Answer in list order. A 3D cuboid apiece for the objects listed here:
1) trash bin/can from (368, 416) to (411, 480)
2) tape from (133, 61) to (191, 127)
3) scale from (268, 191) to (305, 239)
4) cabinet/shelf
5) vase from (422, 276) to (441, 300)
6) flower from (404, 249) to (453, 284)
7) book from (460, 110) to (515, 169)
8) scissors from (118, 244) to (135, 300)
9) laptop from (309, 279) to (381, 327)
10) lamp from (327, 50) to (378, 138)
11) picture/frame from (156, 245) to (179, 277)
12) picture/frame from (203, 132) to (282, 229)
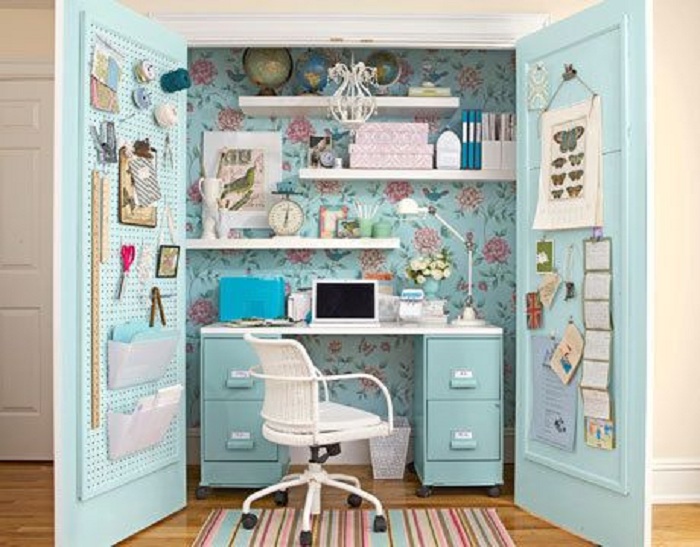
[{"bbox_3d":[0.248,1.096,3.966,0.251,0.333,0.254,0,-2,-2],"label":"trash bin/can"},{"bbox_3d":[-1.005,-0.950,3.340,0.146,0.321,0.275,7,5,34],"label":"tape"},{"bbox_3d":[-0.400,-0.347,4.070,0.273,0.381,0.248,1,-7,-4],"label":"scale"},{"bbox_3d":[-0.004,-0.628,4.014,2.032,0.976,0.339,-1,7,-4],"label":"cabinet/shelf"},{"bbox_3d":[0.509,0.093,4.010,0.120,0.137,0.116,0,-2,-11],"label":"vase"},{"bbox_3d":[0.507,-0.058,3.958,0.224,0.166,0.239,3,37,19],"label":"flower"},{"bbox_3d":[0.841,-0.802,4.118,0.408,0.441,0.314,0,0,-1],"label":"book"},{"bbox_3d":[-1.157,-0.009,3.251,0.042,0.281,0.138,3,7,25],"label":"scissors"},{"bbox_3d":[-0.033,0.173,3.836,0.395,0.258,0.098,0,7,0],"label":"laptop"},{"bbox_3d":[0.028,-1.117,3.863,0.312,0.544,0.727,0,7,-2],"label":"lamp"},{"bbox_3d":[-1.003,-0.068,3.425,0.022,0.189,0.157,5,-1,25],"label":"picture/frame"},{"bbox_3d":[-0.709,-0.601,4.113,0.446,0.636,0.062,1,-1,-2],"label":"picture/frame"}]
